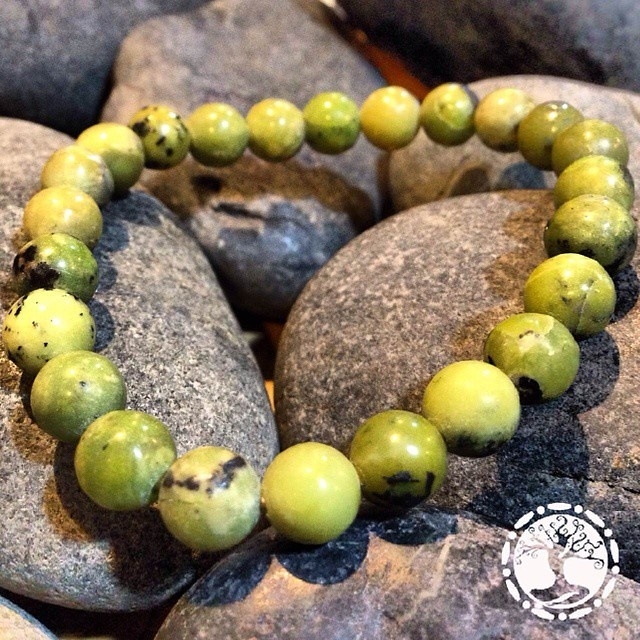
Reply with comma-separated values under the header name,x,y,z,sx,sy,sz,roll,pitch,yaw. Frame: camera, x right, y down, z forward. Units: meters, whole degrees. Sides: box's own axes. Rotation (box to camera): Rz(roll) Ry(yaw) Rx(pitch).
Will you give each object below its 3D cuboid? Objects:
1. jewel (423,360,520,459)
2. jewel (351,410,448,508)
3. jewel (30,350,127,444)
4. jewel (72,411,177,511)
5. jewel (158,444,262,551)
name,x,y,z,sx,sy,sz,roll,pitch,yaw
jewel,0.171,0.100,1.034,0.111,0.105,0.106,-1,101,-19
jewel,0.085,0.152,1.029,0.098,0.098,0.107,1,56,2
jewel,-0.254,0.076,1.035,0.099,0.095,0.093,5,103,14
jewel,-0.199,0.140,0.944,0.101,0.100,0.107,0,69,1
jewel,-0.111,0.180,0.976,0.108,0.097,0.099,4,65,-8
